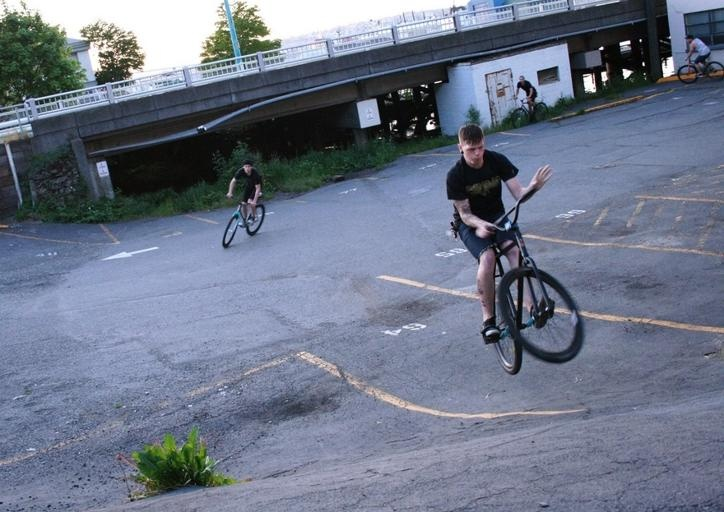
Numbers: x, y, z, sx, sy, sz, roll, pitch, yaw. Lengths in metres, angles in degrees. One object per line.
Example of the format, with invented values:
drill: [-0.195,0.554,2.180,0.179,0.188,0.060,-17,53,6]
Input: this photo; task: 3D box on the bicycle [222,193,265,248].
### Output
bicycle: [-3.609,-1.065,19.043,0.853,0.992,1.743,5,29,25]

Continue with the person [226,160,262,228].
person: [-3.293,-1.879,18.934,0.881,1.762,1.112,-13,17,-9]

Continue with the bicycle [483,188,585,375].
bicycle: [2.166,0.460,8.654,0.903,2.543,1.148,-14,17,-12]
